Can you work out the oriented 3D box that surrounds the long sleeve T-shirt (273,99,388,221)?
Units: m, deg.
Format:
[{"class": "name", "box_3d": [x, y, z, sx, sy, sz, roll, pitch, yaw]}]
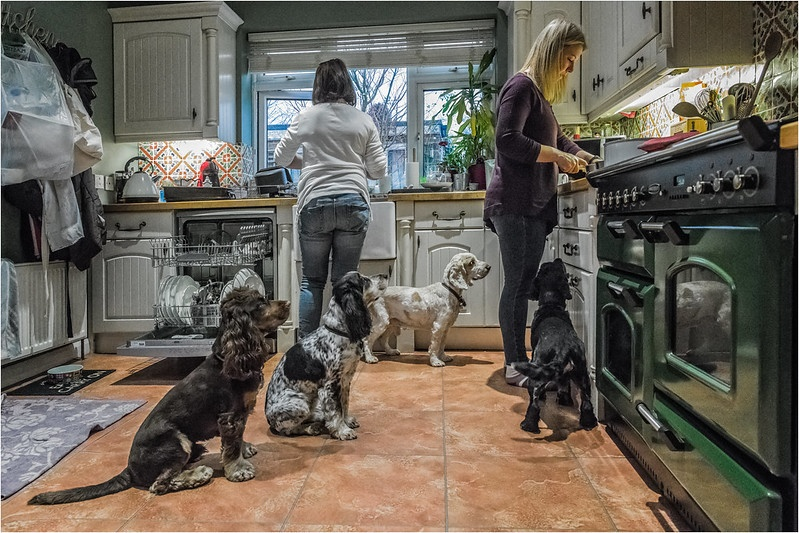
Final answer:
[{"class": "long sleeve T-shirt", "box_3d": [-0.332, -0.638, 3.248, 0.842, 0.856, 0.569, -1, 10, -2]}]

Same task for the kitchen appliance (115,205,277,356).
[{"class": "kitchen appliance", "box_3d": [-1.390, 0.058, 3.748, 0.880, 0.930, 1.184, 1, 4, 6]}]
